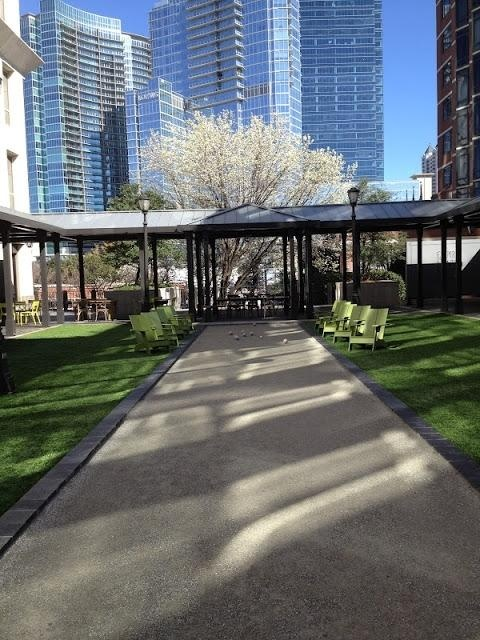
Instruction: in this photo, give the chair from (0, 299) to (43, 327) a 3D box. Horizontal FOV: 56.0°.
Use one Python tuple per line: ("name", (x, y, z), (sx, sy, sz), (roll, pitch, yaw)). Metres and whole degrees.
("chair", (-9.584, -0.245, 19.870), (1.309, 0.819, 1.338), (1, 1, 3))
